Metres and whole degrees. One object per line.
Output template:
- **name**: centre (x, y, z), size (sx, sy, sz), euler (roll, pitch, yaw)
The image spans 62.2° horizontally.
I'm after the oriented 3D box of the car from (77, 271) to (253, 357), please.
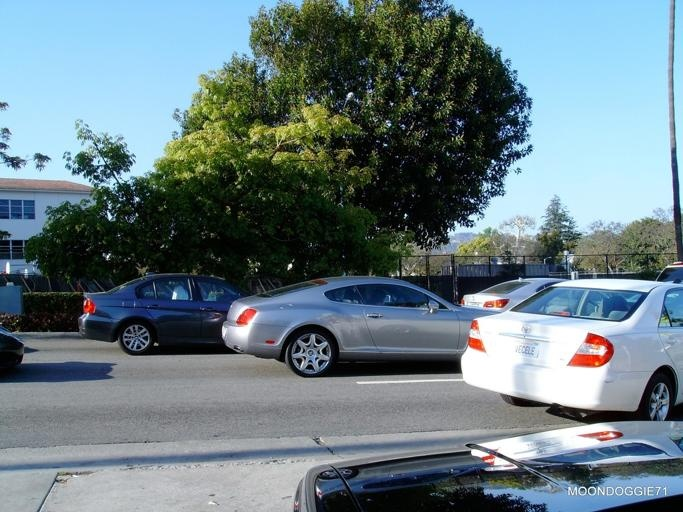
- **car**: centre (-3.839, 1.231, 12.616), size (3.665, 1.258, 1.592), euler (-1, -1, -13)
